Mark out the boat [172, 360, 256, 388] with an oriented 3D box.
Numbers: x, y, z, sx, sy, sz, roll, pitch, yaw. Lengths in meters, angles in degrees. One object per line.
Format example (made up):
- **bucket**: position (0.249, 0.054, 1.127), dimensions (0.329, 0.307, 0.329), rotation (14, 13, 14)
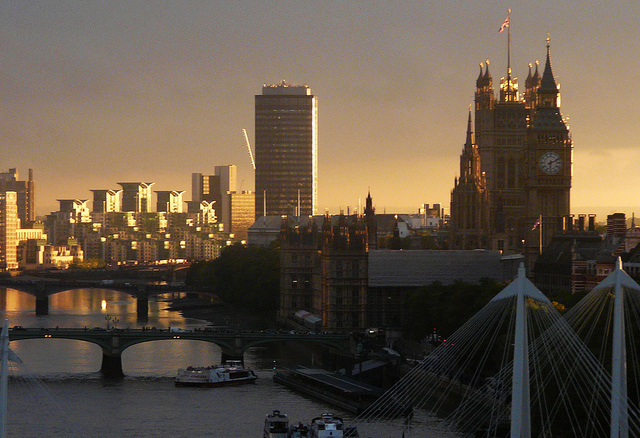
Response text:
- **boat**: position (-14.560, 21.413, 234.063), dimensions (10.641, 2.902, 7.547), rotation (0, -3, -18)
